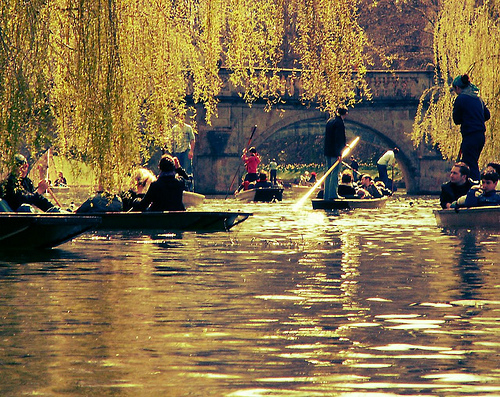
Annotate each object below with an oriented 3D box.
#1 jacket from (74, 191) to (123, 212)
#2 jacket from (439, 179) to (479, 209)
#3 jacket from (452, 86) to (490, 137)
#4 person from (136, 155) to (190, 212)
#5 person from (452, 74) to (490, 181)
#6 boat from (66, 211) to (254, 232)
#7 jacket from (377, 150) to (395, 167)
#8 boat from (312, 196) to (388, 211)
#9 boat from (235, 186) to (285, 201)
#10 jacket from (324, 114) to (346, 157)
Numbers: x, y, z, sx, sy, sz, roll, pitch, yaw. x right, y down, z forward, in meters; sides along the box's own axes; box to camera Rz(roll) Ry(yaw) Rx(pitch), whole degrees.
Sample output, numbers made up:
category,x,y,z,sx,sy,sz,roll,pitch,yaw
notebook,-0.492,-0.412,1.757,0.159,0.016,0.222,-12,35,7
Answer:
category,x,y,z,sx,sy,sz,roll,pitch,yaw
jacket,-1.971,0.072,18.081,0.384,0.205,0.490,-6,0,-10
jacket,2.862,-0.098,19.606,0.366,0.434,0.182,5,-15,26
jacket,3.083,-1.228,19.156,0.447,0.715,0.263,4,-6,7
person,-1.160,-0.209,18.042,0.540,0.722,0.573,5,-6,-6
person,3.093,-0.997,19.181,0.509,1.456,0.454,4,-6,8
boat,-1.092,0.289,18.221,2.214,0.240,0.729,1,-2,-2
jacket,3.471,-1.043,34.919,0.399,0.448,0.864,4,-6,5
boat,1.951,0.088,24.867,0.429,0.184,1.694,2,5,35
boat,0.244,-0.125,32.022,1.055,0.381,1.201,4,-6,1
jacket,1.454,-1.059,23.432,0.394,0.732,0.363,3,-6,17
